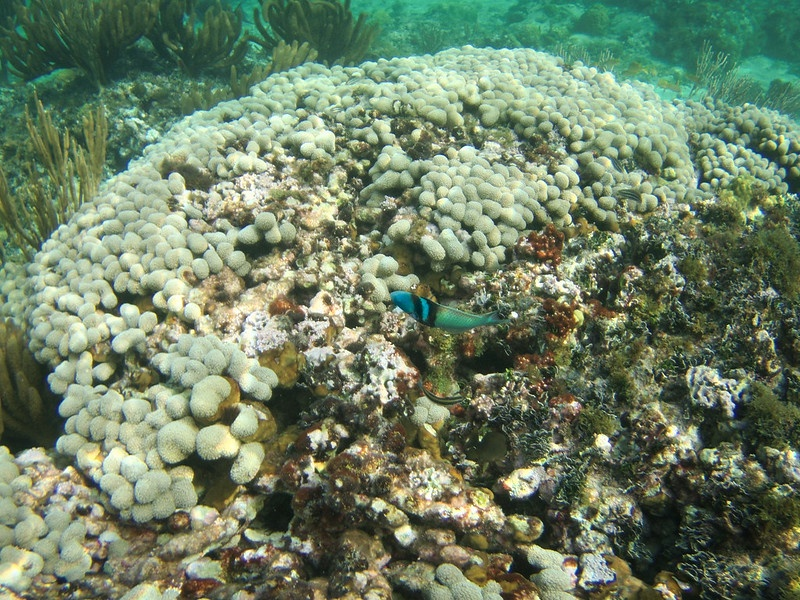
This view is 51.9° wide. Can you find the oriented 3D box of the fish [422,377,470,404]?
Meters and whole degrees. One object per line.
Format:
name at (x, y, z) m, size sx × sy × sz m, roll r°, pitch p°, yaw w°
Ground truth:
fish at (0.663, 1.383, 12.117) m, size 0.763 × 0.305 × 0.324 m, roll 9°, pitch 32°, yaw 12°
